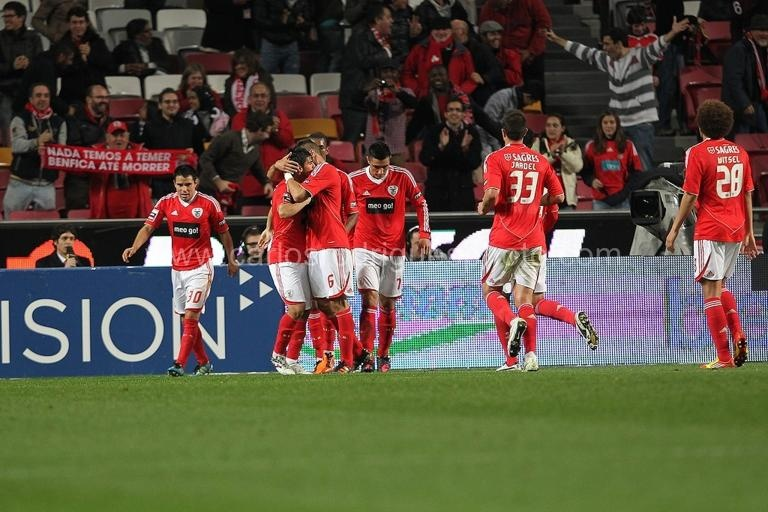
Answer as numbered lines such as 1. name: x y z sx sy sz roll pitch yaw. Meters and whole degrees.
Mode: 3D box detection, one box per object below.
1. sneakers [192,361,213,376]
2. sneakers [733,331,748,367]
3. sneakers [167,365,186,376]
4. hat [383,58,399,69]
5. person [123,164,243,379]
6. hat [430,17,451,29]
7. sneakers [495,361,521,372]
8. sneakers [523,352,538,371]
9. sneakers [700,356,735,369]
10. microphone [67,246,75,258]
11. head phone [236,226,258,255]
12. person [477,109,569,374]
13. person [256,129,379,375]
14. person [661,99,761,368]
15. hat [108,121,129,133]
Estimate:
1. sneakers: -2.176 1.364 18.384 0.267 0.128 0.097 2 -5 -32
2. sneakers: 4.039 1.056 17.251 0.129 0.356 0.173 4 32 20
3. sneakers: -2.450 1.338 17.961 0.221 0.120 0.098 9 10 23
4. hat: 0.099 -2.662 21.186 0.219 0.149 0.353 0 8 0
5. person: -2.384 0.159 18.368 1.018 2.487 0.853 -6 9 -42
6. hat: 0.792 -3.244 21.290 0.294 0.166 0.288 2 8 11
7. sneakers: 1.454 1.271 17.635 0.328 0.145 0.118 -1 -2 5
8. sneakers: 1.680 1.227 17.450 0.096 0.133 0.275 -1 -14 2
9. sneakers: 3.841 1.223 17.509 0.365 0.167 0.131 0 1 11
10. microphone: -3.948 -0.057 19.326 0.094 0.119 0.058 -2 7 -14
11. head phone: -1.711 -0.192 19.380 0.309 0.314 0.334 2 -6 -4
12. person: 1.522 -0.180 17.547 0.775 2.964 1.025 4 8 29
13. person: -0.687 0.019 17.816 1.022 2.686 0.549 -2 7 -14
14. person: 3.808 -0.262 17.532 0.978 3.017 0.668 0 7 -2
15. hat: -3.532 -1.705 20.149 0.246 0.196 0.410 -1 9 -12
